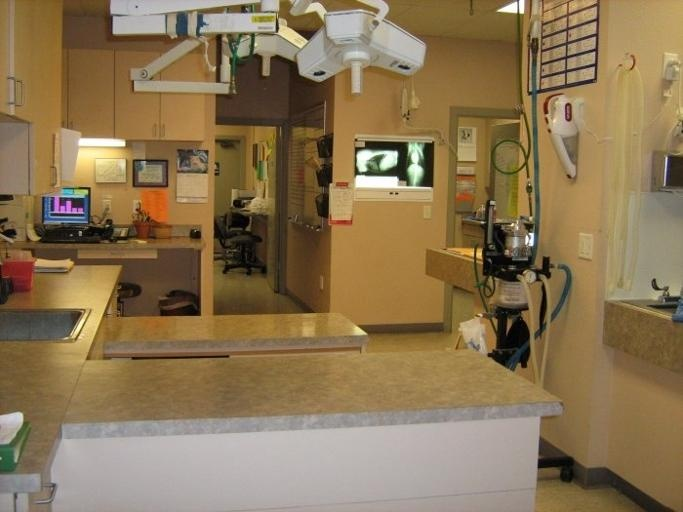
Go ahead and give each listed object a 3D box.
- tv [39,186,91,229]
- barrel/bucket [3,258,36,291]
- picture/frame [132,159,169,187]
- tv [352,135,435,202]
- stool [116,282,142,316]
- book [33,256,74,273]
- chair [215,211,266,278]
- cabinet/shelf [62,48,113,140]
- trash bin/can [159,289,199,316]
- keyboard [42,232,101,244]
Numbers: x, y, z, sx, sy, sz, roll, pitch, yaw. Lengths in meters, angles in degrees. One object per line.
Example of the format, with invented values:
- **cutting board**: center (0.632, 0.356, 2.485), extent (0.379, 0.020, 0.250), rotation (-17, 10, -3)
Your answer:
- **tv**: center (-2.490, -0.434, 5.291), extent (0.394, 0.333, 0.078), rotation (0, 3, -7)
- **barrel/bucket**: center (-1.808, 0.091, 3.354), extent (0.193, 0.158, 0.160), rotation (0, 6, -14)
- **picture/frame**: center (-1.878, -0.818, 5.749), extent (0.271, 0.237, 0.021), rotation (1, -1, -14)
- **tv**: center (0.513, -0.960, 6.274), extent (0.707, 0.562, 0.098), rotation (1, 2, -6)
- **stool**: center (-1.992, 0.437, 5.568), extent (0.209, 0.393, 0.682), rotation (-1, 9, -18)
- **book**: center (-2.030, 0.057, 4.184), extent (0.223, 0.080, 0.203), rotation (0, 9, -16)
- **chair**: center (-1.833, -0.276, 10.723), extent (0.875, 0.977, 1.941), rotation (0, 8, -11)
- **cabinet/shelf**: center (-2.256, -1.459, 5.283), extent (0.416, 0.754, 0.122), rotation (-1, 9, -18)
- **trash bin/can**: center (-1.538, 0.445, 5.618), extent (0.364, 0.183, 0.478), rotation (-1, 9, -17)
- **keyboard**: center (-2.372, -0.178, 5.204), extent (0.469, 0.117, 0.185), rotation (-2, 9, -27)
